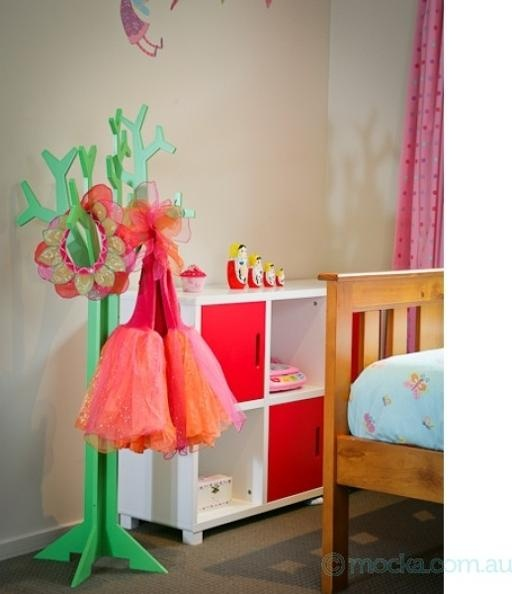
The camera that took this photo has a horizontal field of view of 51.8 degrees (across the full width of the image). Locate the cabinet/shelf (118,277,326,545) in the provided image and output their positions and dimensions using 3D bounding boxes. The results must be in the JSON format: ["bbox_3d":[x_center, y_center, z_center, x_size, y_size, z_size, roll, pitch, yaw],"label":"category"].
[{"bbox_3d":[-0.040,0.375,1.965,0.281,0.792,0.740,1,-2,43],"label":"cabinet/shelf"}]

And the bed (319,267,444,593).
[{"bbox_3d":[0.358,0.400,1.496,0.245,0.745,0.750,1,4,29],"label":"bed"}]

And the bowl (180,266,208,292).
[{"bbox_3d":[-0.210,-0.052,1.762,0.070,0.084,0.079,1,-1,-6],"label":"bowl"}]

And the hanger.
[{"bbox_3d":[-0.477,0.127,1.514,0.389,1.310,0.531,1,-2,-31],"label":"hanger"}]
